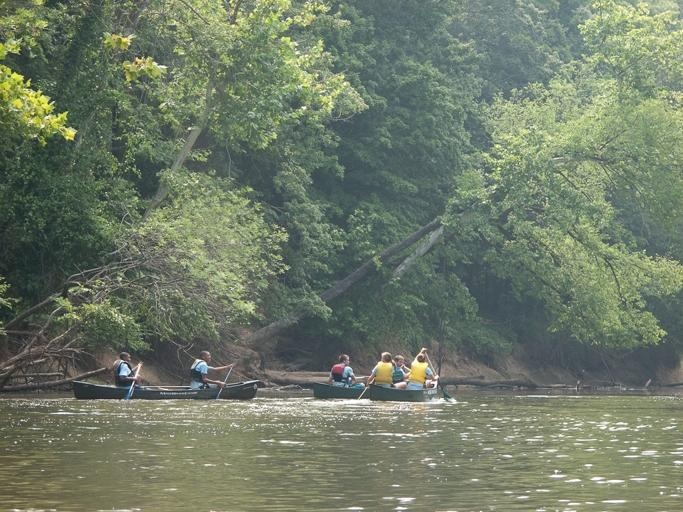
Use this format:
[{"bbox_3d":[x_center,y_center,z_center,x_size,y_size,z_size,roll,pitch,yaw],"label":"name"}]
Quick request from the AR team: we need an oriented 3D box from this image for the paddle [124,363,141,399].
[{"bbox_3d":[-8.319,4.999,54.399,0.210,1.533,0.214,11,-34,18],"label":"paddle"}]

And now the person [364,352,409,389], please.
[{"bbox_3d":[1.708,4.612,56.172,0.960,1.340,1.377,3,-4,-1],"label":"person"}]

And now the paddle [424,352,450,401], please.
[{"bbox_3d":[4.279,5.497,61.788,0.486,2.716,0.174,-33,14,14],"label":"paddle"}]
